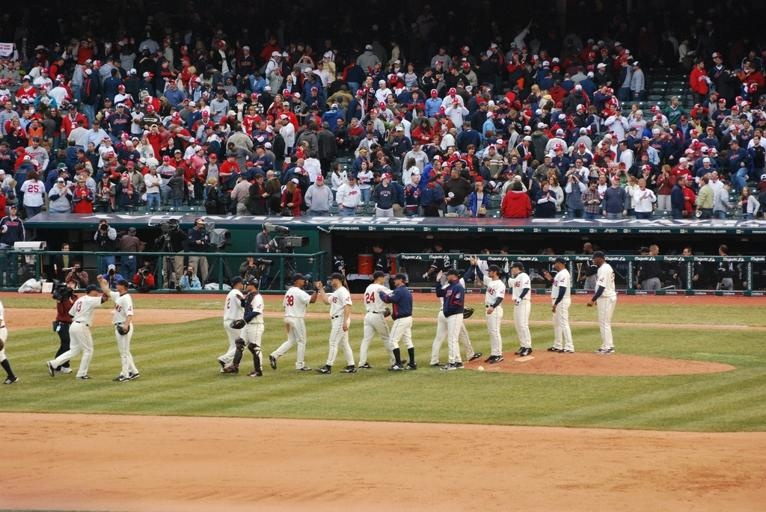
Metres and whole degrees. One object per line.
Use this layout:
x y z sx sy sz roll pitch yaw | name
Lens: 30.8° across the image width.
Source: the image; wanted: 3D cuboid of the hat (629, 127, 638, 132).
9.004 -4.632 50.216 0.307 0.211 0.665 -2 -2 13 | hat

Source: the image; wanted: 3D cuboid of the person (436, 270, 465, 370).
1.921 1.827 38.637 0.605 2.818 0.729 -2 -2 2 | person

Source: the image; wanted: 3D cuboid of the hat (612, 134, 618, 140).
8.166 -4.243 49.232 0.173 0.144 0.287 5 -27 25 | hat

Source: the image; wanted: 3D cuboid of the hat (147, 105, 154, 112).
-8.652 -5.505 51.333 0.246 0.247 0.340 -1 -2 -10 | hat

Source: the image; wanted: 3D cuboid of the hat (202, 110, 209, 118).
-6.524 -5.258 50.777 0.222 0.303 0.200 -1 -2 -5 | hat

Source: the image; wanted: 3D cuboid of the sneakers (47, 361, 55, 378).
-9.078 3.158 37.908 0.220 0.432 0.153 4 19 35 | sneakers

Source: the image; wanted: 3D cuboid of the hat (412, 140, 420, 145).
1.153 -4.088 49.607 0.219 0.205 0.215 -5 11 -45 | hat

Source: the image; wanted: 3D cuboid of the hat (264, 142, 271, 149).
-4.184 -4.000 49.916 0.247 0.276 0.558 -2 -2 -2 | hat

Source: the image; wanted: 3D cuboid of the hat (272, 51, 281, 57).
-4.233 -8.002 54.334 0.422 0.159 0.466 0 4 -3 | hat

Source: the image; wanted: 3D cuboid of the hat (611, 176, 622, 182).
8.076 -2.646 48.284 0.213 0.273 0.275 -2 37 -20 | hat

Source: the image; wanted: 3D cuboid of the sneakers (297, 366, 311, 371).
-2.232 3.216 38.829 0.399 0.146 0.136 0 2 -3 | sneakers

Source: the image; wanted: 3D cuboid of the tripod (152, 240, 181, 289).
-7.494 0.313 48.026 0.795 1.735 1.271 0 -2 -40 | tripod

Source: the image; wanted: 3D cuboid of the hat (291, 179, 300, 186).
-3.153 -2.648 48.868 0.204 0.247 0.492 -2 -2 6 | hat

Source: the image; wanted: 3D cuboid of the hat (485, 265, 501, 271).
3.113 0.391 39.201 0.304 0.201 0.485 -2 -2 3 | hat

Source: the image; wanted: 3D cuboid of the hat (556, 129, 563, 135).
6.224 -4.471 49.480 0.184 0.231 0.243 29 26 24 | hat

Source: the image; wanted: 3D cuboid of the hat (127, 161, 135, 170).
-8.998 -3.238 49.360 0.254 0.296 0.308 1 3 -2 | hat

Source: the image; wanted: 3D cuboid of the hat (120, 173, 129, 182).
-9.257 -2.831 49.405 0.324 0.264 0.197 -2 -2 10 | hat

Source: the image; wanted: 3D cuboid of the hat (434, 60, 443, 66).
2.051 -7.467 53.061 0.305 0.149 0.234 5 7 27 | hat

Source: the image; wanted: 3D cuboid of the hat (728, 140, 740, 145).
12.440 -4.090 49.361 0.304 0.091 0.192 1 -4 -23 | hat

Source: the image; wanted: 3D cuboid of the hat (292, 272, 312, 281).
-2.215 0.636 38.776 0.584 0.191 0.359 0 1 -20 | hat

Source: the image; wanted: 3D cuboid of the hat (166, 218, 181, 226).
-7.232 -1.162 47.923 0.225 0.255 0.289 13 12 26 | hat

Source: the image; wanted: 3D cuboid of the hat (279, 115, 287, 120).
-3.674 -5.102 50.529 0.230 0.169 0.175 -18 13 9 | hat

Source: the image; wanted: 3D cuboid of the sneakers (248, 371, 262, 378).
-3.535 3.325 38.286 0.396 0.157 0.140 3 10 4 | sneakers

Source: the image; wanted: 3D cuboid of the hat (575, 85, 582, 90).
7.212 -6.335 51.616 0.221 0.108 0.217 3 4 19 | hat

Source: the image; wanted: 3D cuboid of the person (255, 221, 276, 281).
-4.074 0.023 47.916 0.689 2.165 0.791 8 8 24 | person

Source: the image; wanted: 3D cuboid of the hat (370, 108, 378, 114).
-0.381 -5.362 50.913 0.199 0.249 0.226 -26 20 9 | hat

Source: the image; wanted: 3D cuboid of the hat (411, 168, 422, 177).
1.138 -2.992 49.092 0.213 0.273 0.289 1 7 29 | hat

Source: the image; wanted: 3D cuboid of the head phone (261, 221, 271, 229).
-4.041 -1.053 47.725 0.244 0.251 0.200 7 2 -40 | head phone

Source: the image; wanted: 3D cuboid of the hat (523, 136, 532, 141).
5.111 -4.200 49.205 0.147 0.181 0.411 -3 -3 44 | hat

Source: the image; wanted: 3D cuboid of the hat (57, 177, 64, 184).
-11.443 -2.702 49.196 0.233 0.219 0.258 -1 -2 -13 | hat

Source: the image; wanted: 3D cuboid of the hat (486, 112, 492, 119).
3.848 -5.187 50.604 0.217 0.209 0.178 49 -12 -33 | hat

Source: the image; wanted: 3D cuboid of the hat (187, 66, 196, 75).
-7.468 -7.295 53.876 0.306 0.110 0.307 6 23 -12 | hat

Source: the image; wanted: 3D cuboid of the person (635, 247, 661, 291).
9.140 0.745 47.956 0.815 1.123 0.371 -2 -2 9 | person

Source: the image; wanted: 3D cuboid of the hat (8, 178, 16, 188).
-13.213 -2.619 49.318 0.230 0.277 0.299 3 21 38 | hat

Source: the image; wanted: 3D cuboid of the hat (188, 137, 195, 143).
-6.885 -4.198 50.051 0.219 0.267 0.431 -1 -2 -8 | hat

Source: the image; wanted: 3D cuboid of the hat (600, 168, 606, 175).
7.678 -3.002 48.804 0.223 0.228 0.506 -2 -2 20 | hat

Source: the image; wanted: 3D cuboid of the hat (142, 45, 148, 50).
-9.581 -8.417 55.549 0.235 0.100 0.225 1 4 -5 | hat

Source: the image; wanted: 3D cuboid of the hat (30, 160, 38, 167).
-12.515 -3.358 49.851 0.161 0.291 0.427 -2 -2 15 | hat

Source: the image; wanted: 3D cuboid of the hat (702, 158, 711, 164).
11.328 -3.361 48.527 0.381 0.251 0.181 0 -2 -31 | hat

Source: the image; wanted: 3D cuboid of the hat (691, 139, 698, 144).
11.073 -4.120 49.455 0.268 0.185 0.211 0 -2 -36 | hat

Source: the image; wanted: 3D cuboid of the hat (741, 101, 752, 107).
13.413 -5.698 51.323 0.450 0.206 0.308 -2 9 4 | hat

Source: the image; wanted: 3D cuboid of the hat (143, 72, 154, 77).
-9.156 -7.142 53.949 0.285 0.139 0.201 -5 16 -9 | hat

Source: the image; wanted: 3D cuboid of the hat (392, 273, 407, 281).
0.415 0.606 38.298 0.315 0.144 0.215 12 2 8 | hat

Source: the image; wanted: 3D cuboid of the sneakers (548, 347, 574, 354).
5.139 2.799 40.538 0.675 0.245 0.224 -1 2 9 | sneakers

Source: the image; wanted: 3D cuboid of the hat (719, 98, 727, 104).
12.626 -5.855 51.828 0.270 0.180 0.364 5 -3 1 | hat

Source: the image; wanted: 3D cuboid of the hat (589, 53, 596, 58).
8.032 -7.856 53.696 0.158 0.203 0.204 -29 18 31 | hat

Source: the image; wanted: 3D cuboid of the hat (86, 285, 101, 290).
-8.448 0.948 40.336 0.376 0.185 0.274 -11 15 -41 | hat
